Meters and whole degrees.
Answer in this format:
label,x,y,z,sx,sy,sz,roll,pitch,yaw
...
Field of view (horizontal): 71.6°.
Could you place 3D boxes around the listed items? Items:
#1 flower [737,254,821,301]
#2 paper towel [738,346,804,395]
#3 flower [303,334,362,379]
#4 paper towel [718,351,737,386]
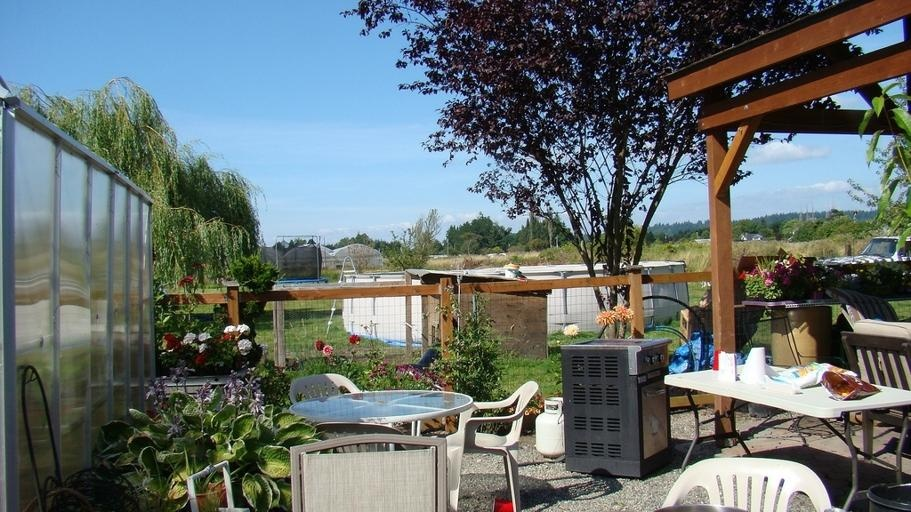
label,x,y,z,sx,sy,sz,roll,pitch,yaw
flower,4.732,0.356,9.046,0.745,0.381,0.749,-3,4,0
paper towel,3.360,1.237,6.786,0.418,0.486,0.419,0,0,8
flower,-2.171,1.781,11.116,0.770,0.818,0.576,2,5,18
paper towel,3.008,1.243,7.009,0.087,0.297,0.202,6,-5,-42
